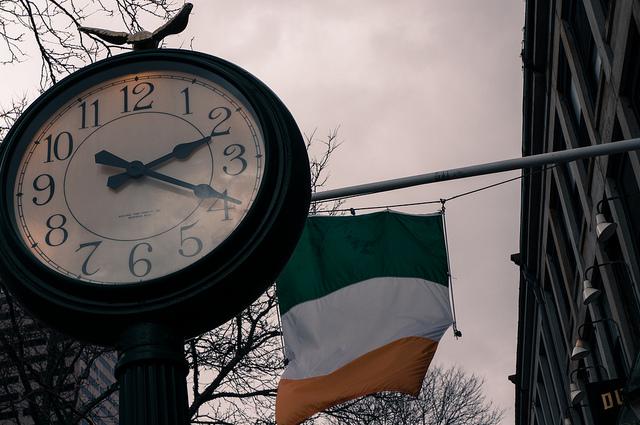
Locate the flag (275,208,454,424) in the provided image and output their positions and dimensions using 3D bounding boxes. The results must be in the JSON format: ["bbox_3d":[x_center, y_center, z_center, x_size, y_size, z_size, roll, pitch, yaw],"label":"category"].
[{"bbox_3d":[0.876,2.198,33.114,3.529,5.151,0.559,0,-30,2],"label":"flag"}]
